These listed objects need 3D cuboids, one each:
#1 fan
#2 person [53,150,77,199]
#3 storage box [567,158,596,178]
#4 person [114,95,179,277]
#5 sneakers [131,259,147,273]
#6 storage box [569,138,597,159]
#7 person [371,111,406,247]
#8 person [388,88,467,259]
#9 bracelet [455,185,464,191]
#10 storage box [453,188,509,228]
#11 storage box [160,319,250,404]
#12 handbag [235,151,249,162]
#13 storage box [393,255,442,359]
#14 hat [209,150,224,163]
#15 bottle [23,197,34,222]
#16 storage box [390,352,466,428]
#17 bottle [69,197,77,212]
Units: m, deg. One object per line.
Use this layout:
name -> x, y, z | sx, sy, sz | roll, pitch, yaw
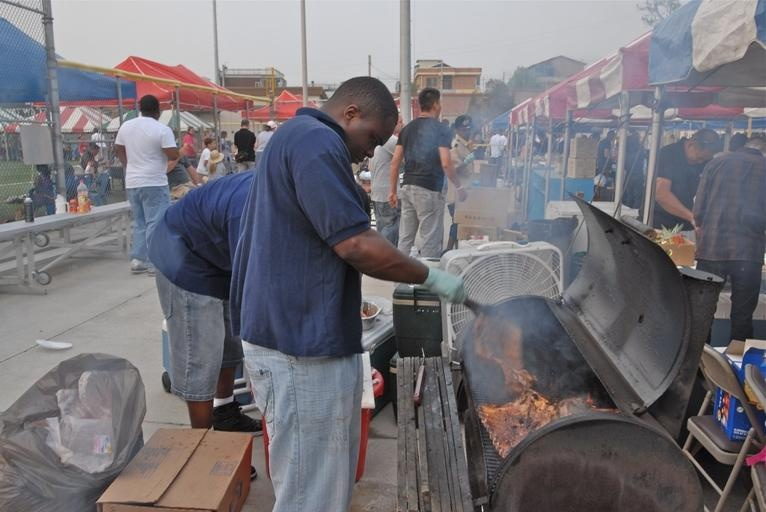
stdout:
fan -> 0.890, 0.352, 4.514 | 0.795, 0.887, 0.318 | -2, 12, -2
person -> -5.380, -1.425, 10.263 | 0.252, 0.720, 3.689 | -7, 16, -25
storage box -> 3.611, -1.544, 11.071 | 0.363, 0.297, 0.382 | -1, 6, 4
person -> -3.163, -0.935, 8.226 | 0.773, 2.393, 0.683 | 6, 10, 14
sneakers -> -3.518, 0.168, 8.655 | 0.110, 0.151, 0.316 | 9, 12, 21
storage box -> 3.610, -1.899, 10.878 | 0.448, 0.361, 0.498 | 4, 14, 16
person -> -0.017, -0.744, 8.013 | 0.421, 1.532, 0.372 | -6, -3, 42
person -> 0.444, -0.835, 7.317 | 0.669, 2.338, 0.541 | 2, 27, 2
bracelet -> 0.925, -0.804, 7.336 | 0.055, 0.063, 0.053 | 5, 31, 33
storage box -> 1.328, -0.603, 7.968 | 0.675, 0.504, 0.519 | 4, 16, 23
storage box -> -1.295, 0.785, 4.461 | 0.370, 0.651, 0.659 | -6, 13, -33
handbag -> -3.216, -2.215, 13.572 | 0.315, 0.201, 0.326 | -16, 21, -24
storage box -> 0.262, 0.526, 5.536 | 0.514, 1.007, 0.544 | 0, 10, 3
hat -> -3.459, -2.014, 12.499 | 0.245, 0.241, 0.482 | -5, 15, -20
bottle -> -4.449, -0.557, 7.586 | 0.095, 0.279, 0.167 | -4, 15, -17
storage box -> 0.277, 1.005, 4.868 | 0.763, 0.741, 0.485 | -1, -12, -1
bottle -> -4.344, -0.680, 8.470 | 0.109, 0.183, 0.130 | -12, 19, -40
